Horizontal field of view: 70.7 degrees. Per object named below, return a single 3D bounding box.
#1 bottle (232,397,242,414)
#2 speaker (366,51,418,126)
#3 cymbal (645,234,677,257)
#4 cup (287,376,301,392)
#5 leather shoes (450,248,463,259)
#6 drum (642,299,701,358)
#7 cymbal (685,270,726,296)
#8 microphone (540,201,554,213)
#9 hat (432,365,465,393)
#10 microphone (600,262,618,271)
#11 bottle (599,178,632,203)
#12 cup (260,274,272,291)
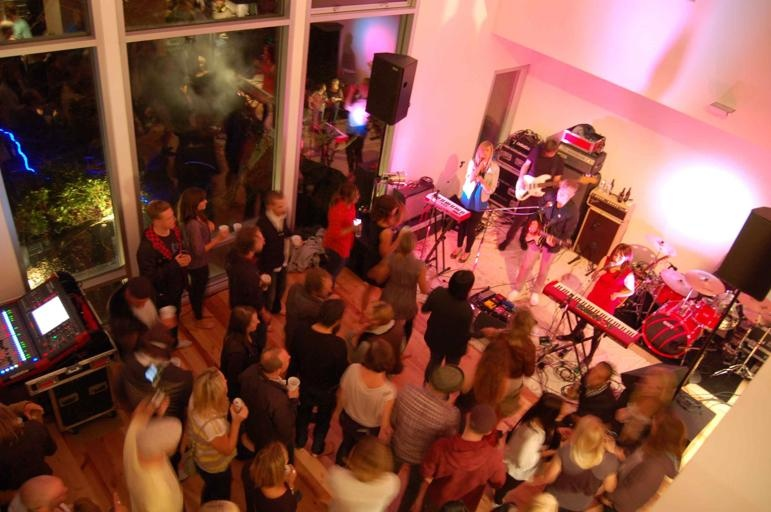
[{"bbox_3d":[-1.328,1.336,4.863,0.113,0.092,0.089,15,38,-4],"label":"bottle"},{"bbox_3d":[0.067,-2.276,7.389,0.502,0.844,0.343,26,30,28],"label":"speaker"},{"bbox_3d":[4.478,-0.172,8.800,0.422,0.097,0.408,12,50,-2],"label":"cymbal"},{"bbox_3d":[-0.864,1.198,5.080,0.110,0.165,0.144,4,27,-14],"label":"cup"},{"bbox_3d":[1.157,-0.041,8.774,0.090,0.102,0.257,23,50,36],"label":"leather shoes"},{"bbox_3d":[4.090,1.066,7.728,0.555,0.661,0.391,25,54,18],"label":"drum"},{"bbox_3d":[4.448,0.335,7.570,0.392,0.088,0.390,-33,52,-20],"label":"cymbal"},{"bbox_3d":[2.372,-0.726,7.975,0.160,0.173,0.138,9,5,-13],"label":"microphone"},{"bbox_3d":[0.562,1.123,5.127,0.284,0.217,0.369,-9,-2,-3],"label":"hat"},{"bbox_3d":[3.026,0.147,7.479,0.096,0.107,0.359,-7,-1,-7],"label":"microphone"},{"bbox_3d":[3.912,-1.097,9.225,0.352,0.218,0.352,5,39,-4],"label":"bottle"},{"bbox_3d":[-1.434,0.317,6.510,0.146,0.177,0.180,8,-6,-6],"label":"cup"}]
